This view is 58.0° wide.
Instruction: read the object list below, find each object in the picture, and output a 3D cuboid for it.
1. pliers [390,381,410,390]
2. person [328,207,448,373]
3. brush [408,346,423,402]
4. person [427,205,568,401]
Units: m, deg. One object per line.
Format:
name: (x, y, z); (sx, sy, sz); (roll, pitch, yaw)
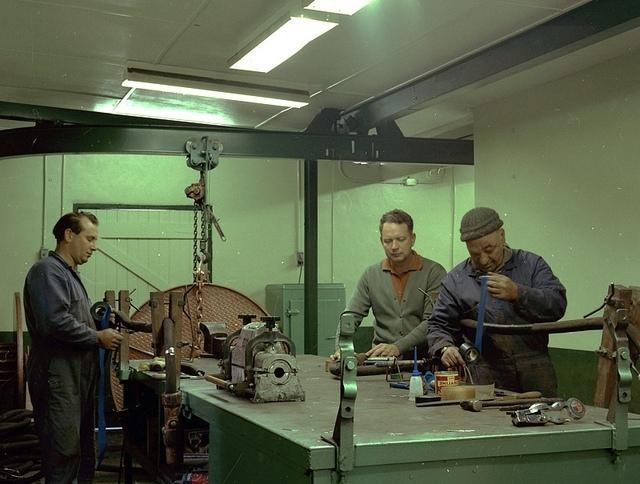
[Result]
pliers: (0.426, 0.759, 3.090); (0.101, 0.020, 0.163); (-1, -2, 9)
person: (0.545, 0.323, 3.914); (0.577, 1.206, 0.517); (4, 0, -9)
brush: (0.464, 0.644, 2.786); (0.068, 0.230, 0.076); (-1, -2, 17)
person: (1.014, 0.361, 3.247); (0.793, 1.311, 0.578); (-5, -8, 42)
